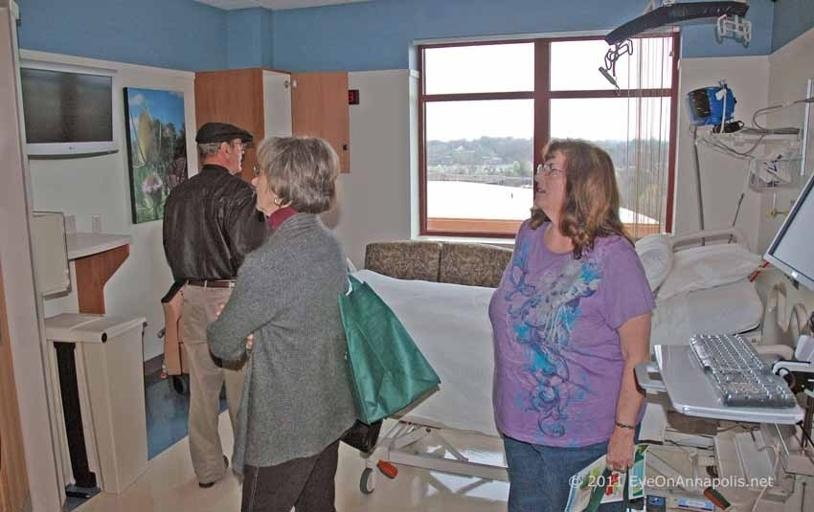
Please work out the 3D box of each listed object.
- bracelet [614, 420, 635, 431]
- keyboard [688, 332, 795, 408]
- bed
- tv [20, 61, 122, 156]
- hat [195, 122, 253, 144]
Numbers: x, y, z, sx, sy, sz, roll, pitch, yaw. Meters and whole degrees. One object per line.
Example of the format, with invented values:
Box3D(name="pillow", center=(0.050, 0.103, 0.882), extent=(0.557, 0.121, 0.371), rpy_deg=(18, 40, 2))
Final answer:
Box3D(name="bracelet", center=(0.907, 0.703, 2.368), extent=(0.081, 0.037, 0.033), rpy_deg=(0, 13, 9))
Box3D(name="keyboard", center=(1.186, 0.392, 2.045), extent=(0.218, 0.492, 0.038), rpy_deg=(-23, 34, 37))
Box3D(name="bed", center=(0.948, 0.655, 4.022), extent=(2.810, 1.623, 1.653), rpy_deg=(-1, 7, 9))
Box3D(name="tv", center=(-2.611, -1.131, 4.439), extent=(0.153, 0.643, 0.765), rpy_deg=(2, 13, 19))
Box3D(name="hat", center=(-1.155, -0.761, 3.607), extent=(0.250, 0.093, 0.195), rpy_deg=(-10, 9, -34))
